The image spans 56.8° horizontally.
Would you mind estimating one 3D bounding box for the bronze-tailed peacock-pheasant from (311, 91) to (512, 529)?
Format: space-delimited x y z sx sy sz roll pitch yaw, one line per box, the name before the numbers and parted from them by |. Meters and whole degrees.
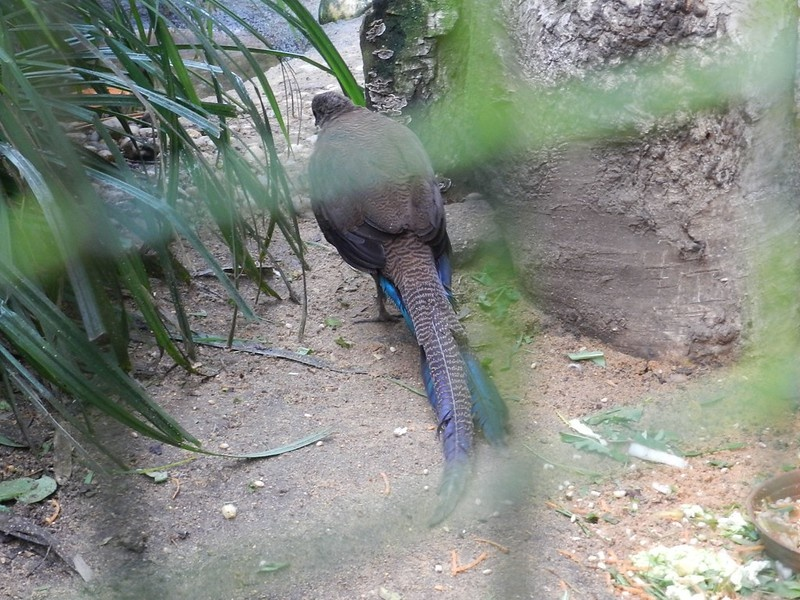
bronze-tailed peacock-pheasant | -0.019 -0.168 3.882 0.688 0.770 2.607 -15 43 -2
